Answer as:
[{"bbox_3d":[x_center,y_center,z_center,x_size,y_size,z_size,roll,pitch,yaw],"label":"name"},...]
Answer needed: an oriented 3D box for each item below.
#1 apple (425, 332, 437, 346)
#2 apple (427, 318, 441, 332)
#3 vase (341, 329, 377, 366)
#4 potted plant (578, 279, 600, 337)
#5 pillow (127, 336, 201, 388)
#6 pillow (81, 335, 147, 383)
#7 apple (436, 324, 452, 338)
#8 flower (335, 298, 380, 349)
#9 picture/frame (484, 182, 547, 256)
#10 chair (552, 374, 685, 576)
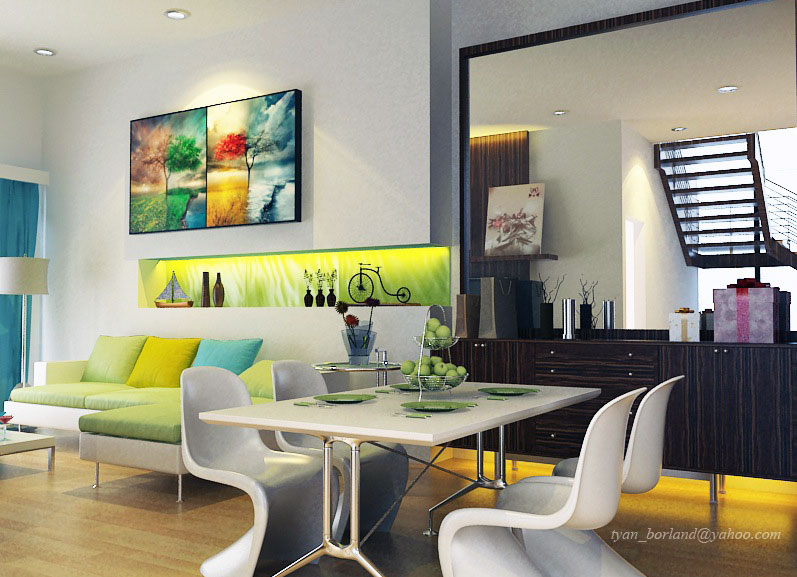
[{"bbox_3d":[0.168,0.264,3.226,0.058,0.072,0.058,-8,15,-35],"label":"apple"},{"bbox_3d":[0.188,0.197,3.284,0.060,0.073,0.066,1,-2,9],"label":"apple"},{"bbox_3d":[-0.297,0.439,4.636,0.246,0.253,0.258,2,-4,-6],"label":"vase"},{"bbox_3d":[1.407,0.138,4.574,0.139,0.430,0.052,-2,-1,17],"label":"potted plant"},{"bbox_3d":[-2.200,0.689,5.788,0.660,0.632,0.201,4,-22,28],"label":"pillow"},{"bbox_3d":[-2.794,0.724,6.190,0.542,0.510,0.163,3,-21,35],"label":"pillow"},{"bbox_3d":[0.242,0.225,3.250,0.061,0.075,0.061,-3,-12,-11],"label":"apple"},{"bbox_3d":[-0.302,0.315,4.659,0.262,0.398,0.233,-3,8,42],"label":"flower"},{"bbox_3d":[0.935,-0.537,4.839,0.560,0.685,0.064,2,1,33],"label":"picture/frame"},{"bbox_3d":[1.090,0.718,3.105,0.585,0.581,0.424,-1,-4,38],"label":"chair"}]
